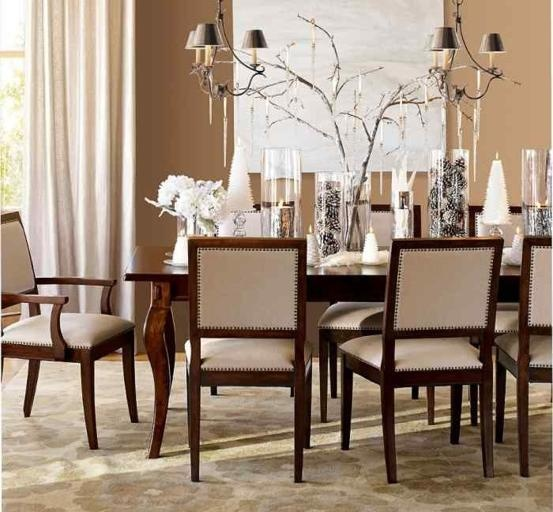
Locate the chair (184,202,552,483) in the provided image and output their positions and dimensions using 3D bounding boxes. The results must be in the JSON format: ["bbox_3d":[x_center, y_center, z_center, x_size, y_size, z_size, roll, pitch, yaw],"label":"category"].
[{"bbox_3d":[0.671,0.324,2.897,1.045,1.062,0.979,1,7,6],"label":"chair"}]

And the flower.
[{"bbox_3d":[-0.388,-0.185,2.963,0.301,0.380,0.346,-7,23,-3],"label":"flower"}]
